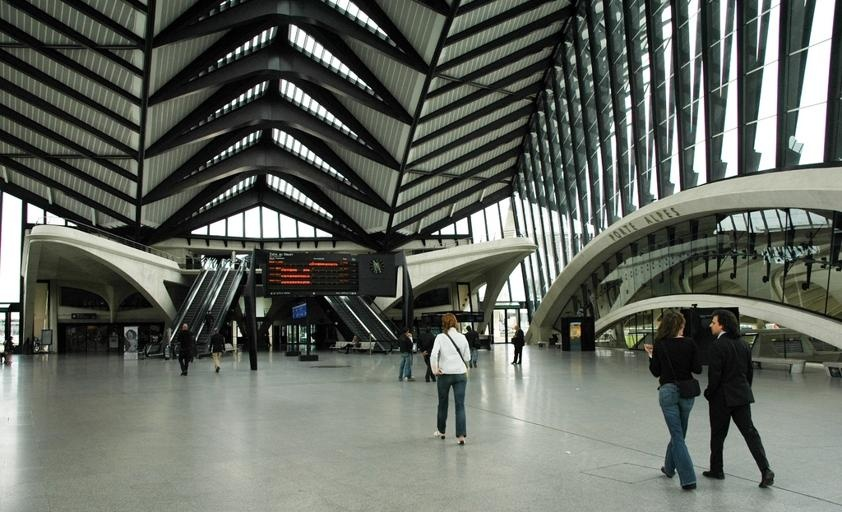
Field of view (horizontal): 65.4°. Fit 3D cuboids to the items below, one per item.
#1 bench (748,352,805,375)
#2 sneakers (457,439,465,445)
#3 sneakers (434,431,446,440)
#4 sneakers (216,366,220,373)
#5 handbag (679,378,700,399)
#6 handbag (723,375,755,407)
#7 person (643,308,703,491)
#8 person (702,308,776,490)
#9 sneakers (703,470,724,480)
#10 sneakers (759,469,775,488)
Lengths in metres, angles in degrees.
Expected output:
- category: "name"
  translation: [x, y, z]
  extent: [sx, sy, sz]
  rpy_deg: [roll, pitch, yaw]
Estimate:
- category: "bench"
  translation: [12.777, 3.873, 23.483]
  extent: [2.307, 0.508, 2.313]
  rpy_deg: [-3, -5, 36]
- category: "sneakers"
  translation: [0.902, 4.126, 14.593]
  extent: [0.170, 0.127, 0.226]
  rpy_deg: [0, -9, 1]
- category: "sneakers"
  translation: [0.445, 4.093, 14.979]
  extent: [0.110, 0.123, 0.291]
  rpy_deg: [2, 4, -27]
- category: "sneakers"
  translation: [-8.161, 4.601, 26.364]
  extent: [0.133, 0.166, 0.422]
  rpy_deg: [2, -19, -10]
- category: "handbag"
  translation: [5.312, 2.623, 12.995]
  extent: [0.416, 0.387, 0.165]
  rpy_deg: [-4, -6, 3]
- category: "handbag"
  translation: [6.286, 2.679, 13.018]
  extent: [0.589, 0.530, 0.307]
  rpy_deg: [-4, -17, 14]
- category: "person"
  translation: [5.093, 2.833, 13.060]
  extent: [0.948, 3.446, 0.314]
  rpy_deg: [-3, -9, 18]
- category: "person"
  translation: [6.231, 2.804, 13.189]
  extent: [1.161, 3.453, 0.484]
  rpy_deg: [-1, -9, 6]
- category: "sneakers"
  translation: [5.843, 4.345, 13.111]
  extent: [0.386, 0.171, 0.152]
  rpy_deg: [2, -2, 38]
- category: "sneakers"
  translation: [6.751, 4.327, 12.730]
  extent: [0.176, 0.452, 0.202]
  rpy_deg: [6, 29, 0]
